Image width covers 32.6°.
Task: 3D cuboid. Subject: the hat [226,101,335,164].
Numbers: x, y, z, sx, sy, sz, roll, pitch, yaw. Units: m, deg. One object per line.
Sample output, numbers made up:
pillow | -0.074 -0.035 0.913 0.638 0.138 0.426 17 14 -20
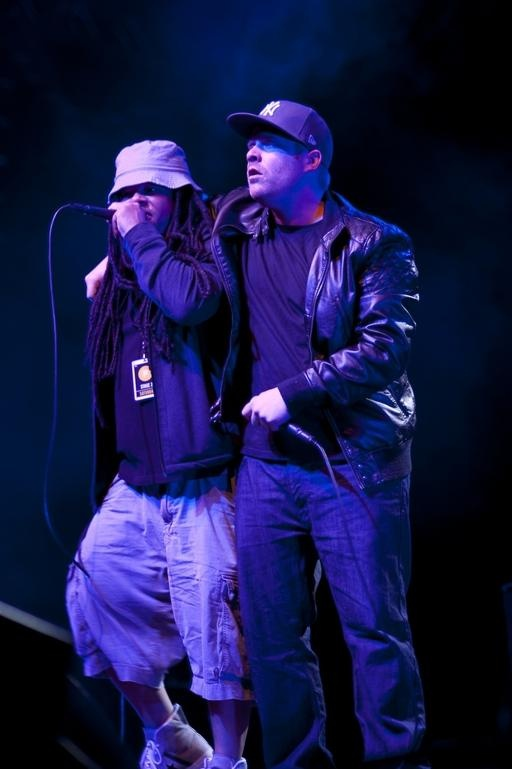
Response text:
hat | 0.070 -0.619 2.056 0.203 0.101 0.144 17 3 -26

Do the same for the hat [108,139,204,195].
hat | -0.262 -0.537 2.199 0.241 0.127 0.247 -8 4 -30
